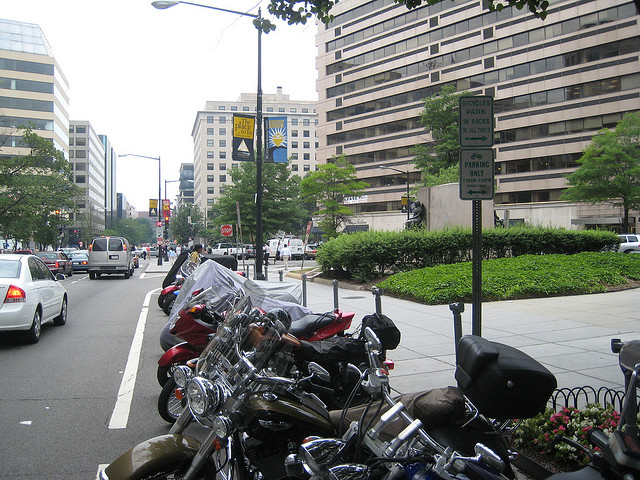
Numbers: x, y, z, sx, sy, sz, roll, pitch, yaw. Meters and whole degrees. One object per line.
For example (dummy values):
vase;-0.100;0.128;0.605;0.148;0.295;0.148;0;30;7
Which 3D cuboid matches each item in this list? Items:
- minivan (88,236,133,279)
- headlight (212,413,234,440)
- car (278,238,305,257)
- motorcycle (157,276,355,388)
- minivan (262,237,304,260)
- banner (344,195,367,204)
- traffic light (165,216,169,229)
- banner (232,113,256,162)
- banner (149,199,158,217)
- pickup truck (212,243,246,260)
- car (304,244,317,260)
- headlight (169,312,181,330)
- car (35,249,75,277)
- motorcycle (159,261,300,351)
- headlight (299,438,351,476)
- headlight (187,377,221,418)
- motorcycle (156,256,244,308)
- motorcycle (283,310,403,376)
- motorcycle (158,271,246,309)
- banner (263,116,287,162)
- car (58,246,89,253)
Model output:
minivan;-11.218;0.780;29.398;1.513;1.384;2.791;-1;4;-12
headlight;-0.682;1.279;3.766;0.129;0.153;0.153;-2;-26;-20
car;-2.357;0.682;48.147;1.486;1.442;2.573;-1;6;-10
motorcycle;-0.782;1.314;7.230;2.694;1.501;1.352;-3;10;-18
minivan;-3.020;0.734;48.682;1.812;1.626;3.118;-2;4;-34
banner;3.793;-4.465;59.052;2.268;0.756;5.684;-1;2;2
traffic light;-13.246;-1.615;46.823;0.210;0.912;1.497;-2;2;-16
banner;-2.859;-3.898;20.383;0.822;1.757;0.975;-2;3;-13
banner;-13.875;-2.713;45.350;0.562;1.294;1.705;-2;3;-14
pickup truck;-6.377;0.742;38.791;1.257;1.041;2.567;-1;6;-44
car;-0.832;1.019;46.664;0.905;1.194;2.374;-1;2;-2
headlight;-1.934;1.082;7.266;0.083;0.292;0.073;20;-4;33
car;-12.757;1.079;26.348;1.470;1.213;3.702;0;2;-15
motorcycle;-1.077;0.931;7.905;2.328;1.314;1.066;4;-4;-15
headlight;0.027;1.410;3.639;0.312;0.166;0.186;-3;22;-40
headlight;-0.818;1.105;3.849;0.223;0.269;0.130;1;4;36
motorcycle;-3.504;1.029;13.908;2.708;1.528;1.429;2;-3;-5
motorcycle;0.270;1.016;5.327;1.017;0.634;0.649;-16;22;0
motorcycle;-3.357;1.304;14.202;0.869;1.042;1.805;-9;-9;40
banner;-1.696;-3.893;20.858;0.814;1.863;1.504;-1;3;-10
car;-27.553;0.958;60.600;2.202;0.738;1.010;3;0;15
